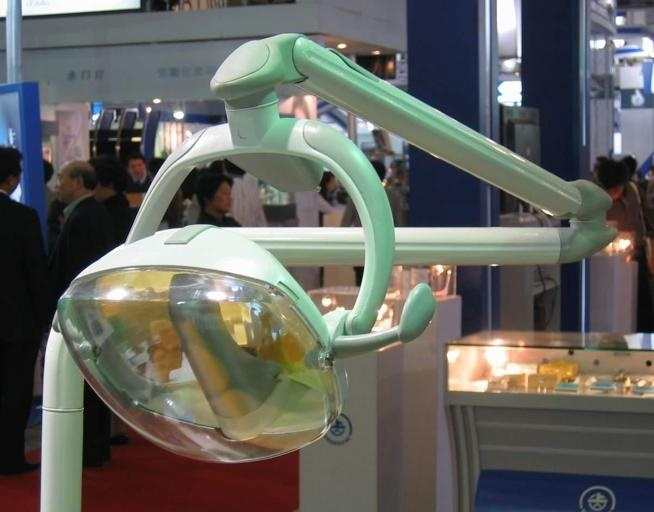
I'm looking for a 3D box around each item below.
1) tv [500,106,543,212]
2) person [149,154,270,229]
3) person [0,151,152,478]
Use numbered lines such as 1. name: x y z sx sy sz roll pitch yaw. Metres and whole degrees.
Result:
1. tv: 1.252 -0.636 5.785 0.257 0.713 1.204 -2 2 15
2. person: -0.787 -0.514 6.958 0.547 0.580 1.489 -3 2 -3
3. person: -1.661 0.353 5.548 0.758 1.524 0.764 -3 2 -24
